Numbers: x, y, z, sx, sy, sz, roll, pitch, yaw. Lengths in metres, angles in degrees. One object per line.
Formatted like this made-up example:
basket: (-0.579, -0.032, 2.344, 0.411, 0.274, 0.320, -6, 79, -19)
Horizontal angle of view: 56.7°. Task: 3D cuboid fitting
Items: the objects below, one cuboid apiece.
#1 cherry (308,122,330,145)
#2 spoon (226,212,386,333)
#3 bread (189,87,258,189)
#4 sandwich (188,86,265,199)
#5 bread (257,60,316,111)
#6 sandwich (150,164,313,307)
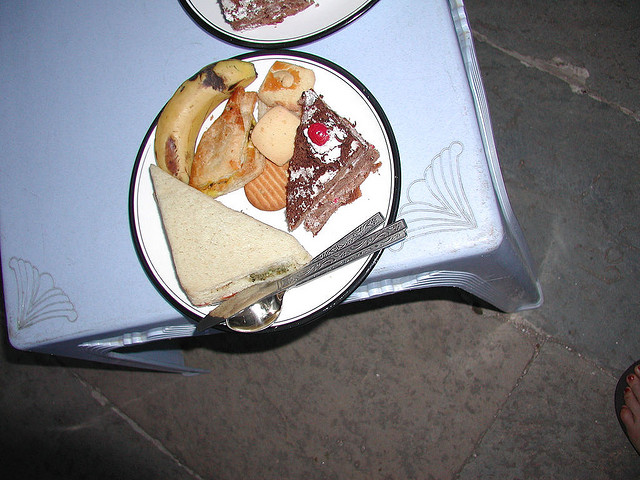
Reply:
cherry: (-0.007, -0.411, 2.283, 0.074, 0.030, 0.082, -21, 83, 1)
spoon: (-0.073, 0.102, 2.262, 0.863, 0.133, 0.171, -33, 82, 0)
bread: (-0.378, -0.380, 2.369, 0.086, 0.240, 0.417, 19, 96, 11)
sandwich: (-0.346, -0.334, 2.351, 0.284, 0.133, 0.419, 36, 99, 24)
bread: (-0.127, -0.605, 2.296, 0.201, 0.047, 0.159, 21, 85, 5)
sandwich: (-0.381, 0.013, 2.293, 0.446, 0.115, 0.648, -43, 84, -13)
